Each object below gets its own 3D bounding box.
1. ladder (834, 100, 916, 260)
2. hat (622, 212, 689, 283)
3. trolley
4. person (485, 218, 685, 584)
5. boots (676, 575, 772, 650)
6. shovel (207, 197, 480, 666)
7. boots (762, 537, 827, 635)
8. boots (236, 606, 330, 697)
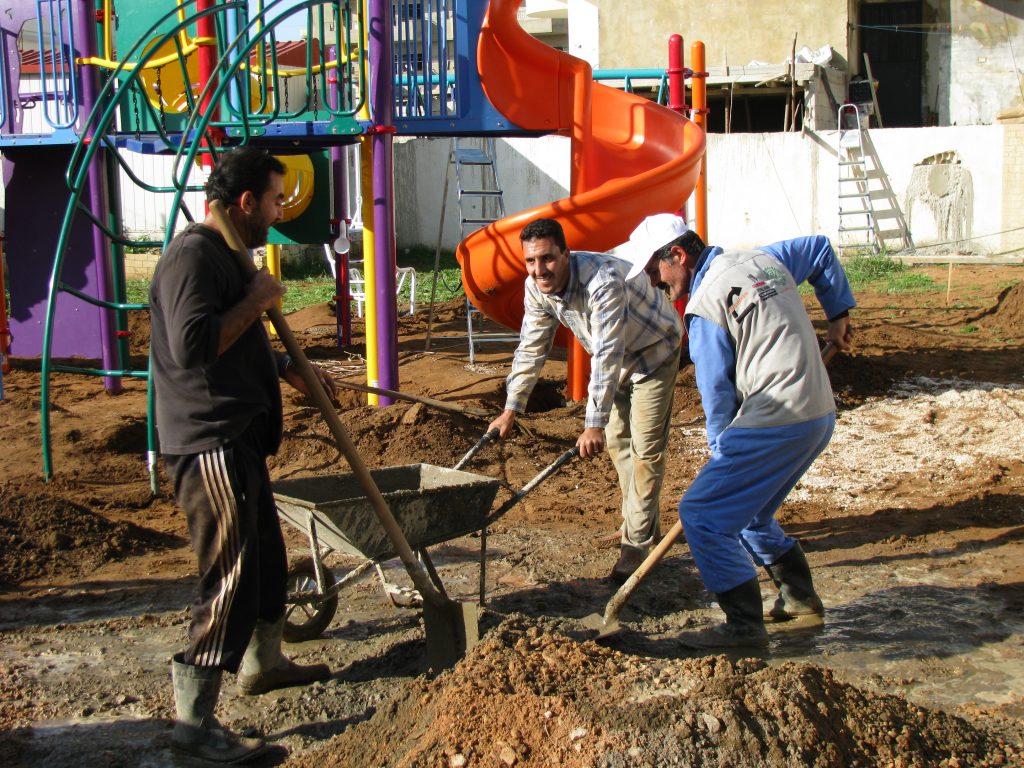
[{"bbox_3d":[5.785,-3.430,19.434,1.140,2.541,1.355,-4,5,-24],"label":"ladder"},{"bbox_3d":[0.769,-0.802,6.502,0.402,0.208,0.285,-39,3,11],"label":"hat"},{"bbox_3d":[-0.663,0.829,6.613,1.971,1.038,0.879,1,0,-41],"label":"trolley"},{"bbox_3d":[0.532,0.004,7.318,1.180,2.193,1.158,16,20,38],"label":"person"},{"bbox_3d":[1.164,1.240,6.418,0.643,0.452,0.231,3,3,9],"label":"boots"},{"bbox_3d":[-1.107,0.186,8.540,0.678,1.305,6.470,-9,33,-18],"label":"shovel"},{"bbox_3d":[1.594,1.132,6.593,0.319,0.535,0.465,-15,7,-40],"label":"boots"},{"bbox_3d":[-1.193,1.384,6.159,0.192,0.421,0.573,-1,-7,43],"label":"boots"}]
